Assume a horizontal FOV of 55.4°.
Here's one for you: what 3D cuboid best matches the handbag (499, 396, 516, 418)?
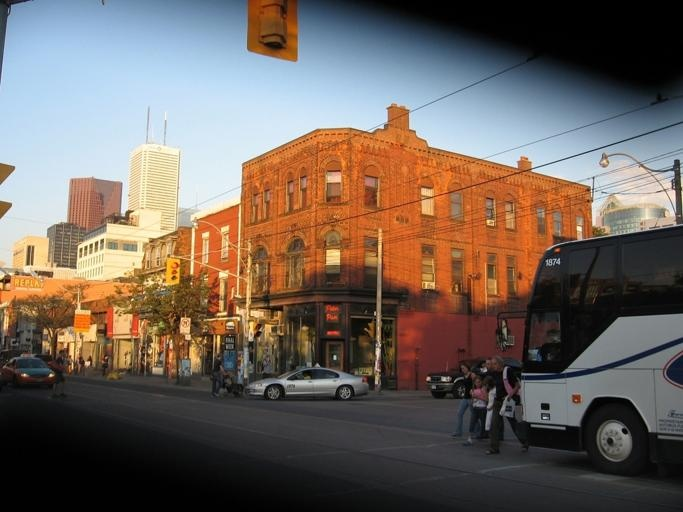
[{"bbox_3d":[3.907,3.546,15.150,0.352,0.484,0.207,-1,-8,14],"label":"handbag"}]

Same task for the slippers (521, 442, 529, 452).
[{"bbox_3d":[4.437,4.639,15.643,0.111,0.151,0.347,-8,-29,18],"label":"slippers"}]

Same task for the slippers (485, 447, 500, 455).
[{"bbox_3d":[3.536,4.540,15.094,0.303,0.150,0.386,0,-9,11],"label":"slippers"}]
